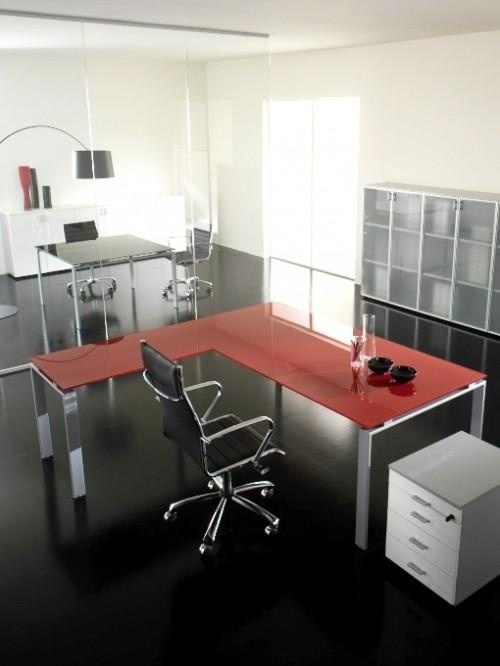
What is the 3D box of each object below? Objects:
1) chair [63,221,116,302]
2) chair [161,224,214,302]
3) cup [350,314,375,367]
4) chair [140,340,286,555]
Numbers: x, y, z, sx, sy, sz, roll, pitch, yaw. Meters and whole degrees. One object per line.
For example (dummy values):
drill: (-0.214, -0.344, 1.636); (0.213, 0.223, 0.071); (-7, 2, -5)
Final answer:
chair: (-1.345, -0.644, 4.532); (0.570, 0.724, 0.526); (-8, 20, -24)
chair: (-0.702, -0.745, 5.222); (0.576, 0.791, 0.619); (-9, 25, -28)
cup: (0.649, 0.034, 2.980); (0.133, 0.247, 0.359); (0, 17, 13)
chair: (-0.163, 0.500, 2.612); (0.642, 0.963, 0.582); (-8, 19, -21)
